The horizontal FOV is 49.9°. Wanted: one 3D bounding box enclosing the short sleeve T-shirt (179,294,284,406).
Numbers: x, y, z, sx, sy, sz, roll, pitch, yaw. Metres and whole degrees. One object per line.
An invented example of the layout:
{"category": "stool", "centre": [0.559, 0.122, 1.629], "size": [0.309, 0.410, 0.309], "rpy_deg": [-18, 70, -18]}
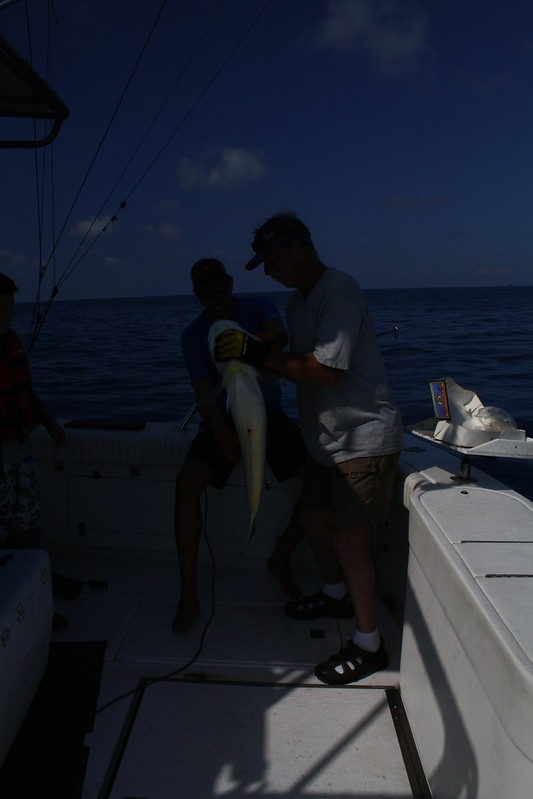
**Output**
{"category": "short sleeve T-shirt", "centre": [-0.128, -0.202, 3.028], "size": [0.601, 0.245, 0.686], "rpy_deg": [3, 25, -29]}

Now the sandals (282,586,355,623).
{"category": "sandals", "centre": [0.254, 0.998, 2.842], "size": [0.354, 0.164, 0.136], "rpy_deg": [2, 1, 1]}

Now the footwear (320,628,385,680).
{"category": "footwear", "centre": [0.336, 1.018, 2.292], "size": [0.273, 0.127, 0.129], "rpy_deg": [-6, 10, -13]}

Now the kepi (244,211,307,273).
{"category": "kepi", "centre": [0.022, -0.641, 2.275], "size": [0.279, 0.150, 0.197], "rpy_deg": [-30, 12, -19]}

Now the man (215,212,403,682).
{"category": "man", "centre": [0.237, 0.165, 2.427], "size": [0.666, 1.840, 0.682], "rpy_deg": [1, 6, 14]}

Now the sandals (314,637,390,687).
{"category": "sandals", "centre": [0.345, 1.035, 2.300], "size": [0.282, 0.130, 0.133], "rpy_deg": [-6, 3, -12]}

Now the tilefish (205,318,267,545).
{"category": "tilefish", "centre": [-0.185, 0.107, 2.314], "size": [0.222, 0.891, 0.353], "rpy_deg": [-4, -10, -3]}

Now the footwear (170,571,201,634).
{"category": "footwear", "centre": [-0.384, 0.921, 2.680], "size": [0.129, 0.277, 0.181], "rpy_deg": [-1, 6, -8]}

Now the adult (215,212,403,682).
{"category": "adult", "centre": [0.235, 0.165, 2.427], "size": [0.669, 1.840, 0.682], "rpy_deg": [1, 6, 14]}

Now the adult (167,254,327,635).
{"category": "adult", "centre": [-0.158, 0.152, 2.736], "size": [0.734, 1.670, 0.481], "rpy_deg": [-3, -3, 9]}

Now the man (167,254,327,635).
{"category": "man", "centre": [-0.123, 0.230, 2.854], "size": [0.734, 1.670, 0.481], "rpy_deg": [-3, -3, 9]}
